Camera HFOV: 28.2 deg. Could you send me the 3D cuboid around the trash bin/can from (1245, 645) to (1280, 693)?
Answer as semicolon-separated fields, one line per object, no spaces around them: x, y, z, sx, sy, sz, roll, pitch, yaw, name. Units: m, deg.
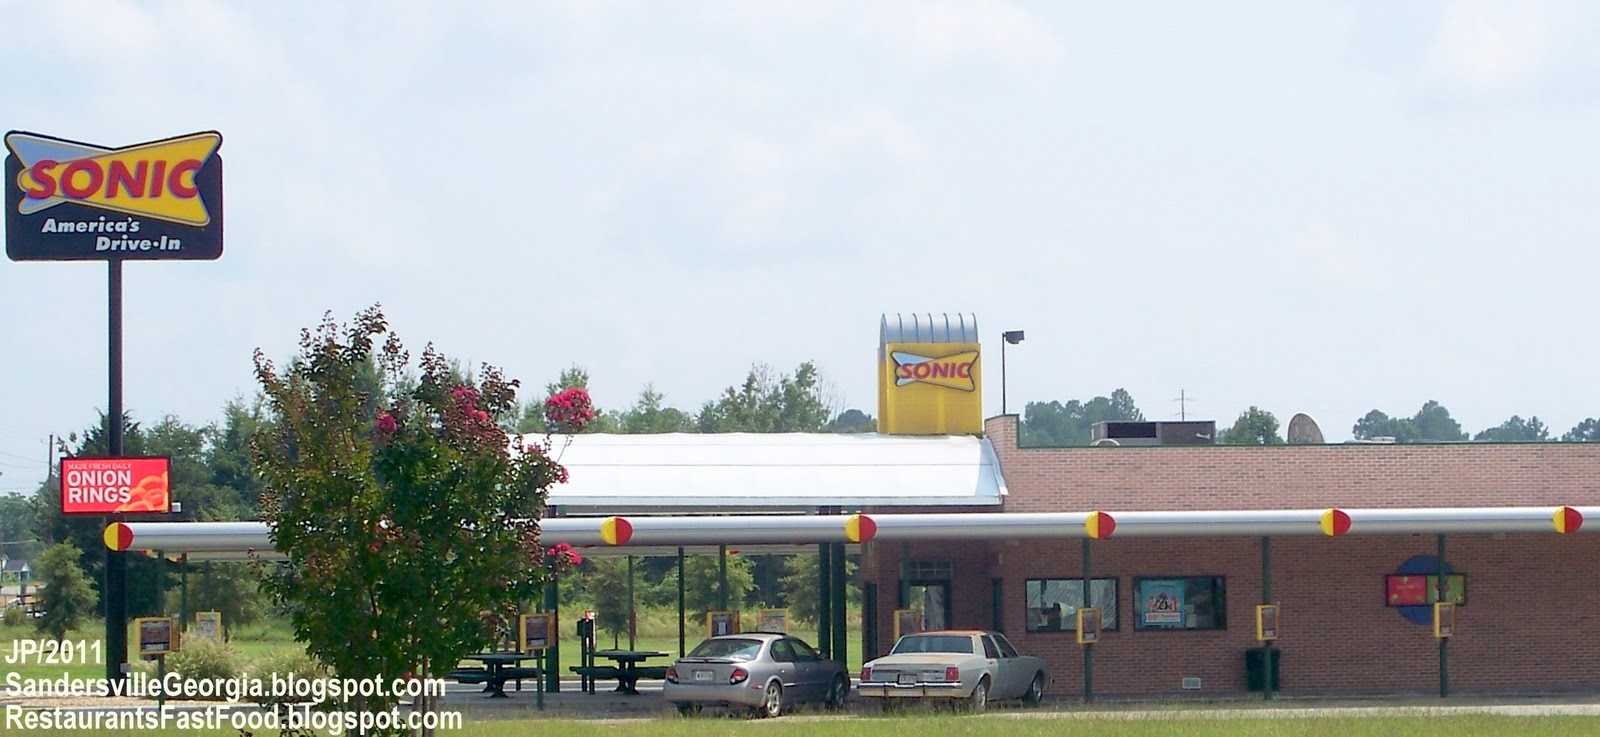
22.763;14.673;156.998;1.456;2.160;1.871;-1;7;-3;trash bin/can
